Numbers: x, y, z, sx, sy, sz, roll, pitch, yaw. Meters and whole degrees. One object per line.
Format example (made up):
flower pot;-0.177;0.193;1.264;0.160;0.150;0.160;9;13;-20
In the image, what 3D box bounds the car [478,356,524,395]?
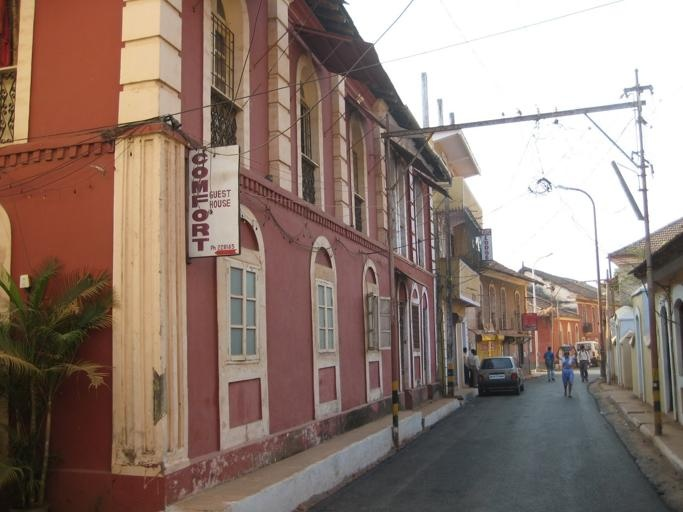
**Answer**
car;7.210;5.489;32.041;1.099;1.315;2.442;-2;-2;17
